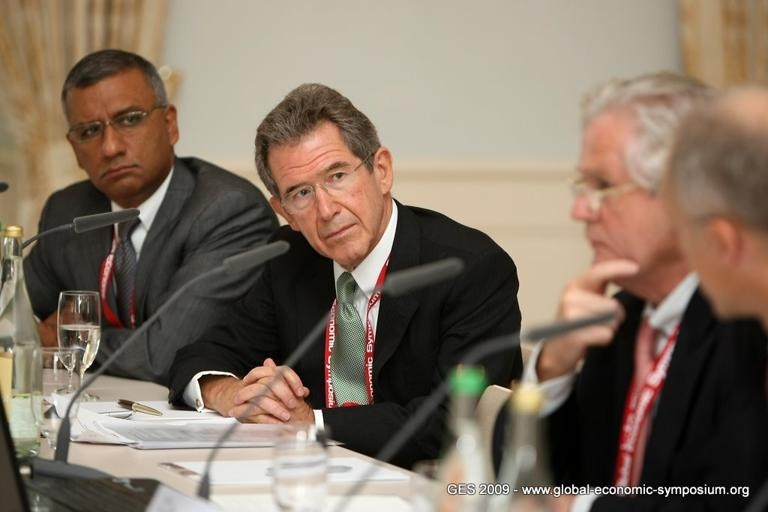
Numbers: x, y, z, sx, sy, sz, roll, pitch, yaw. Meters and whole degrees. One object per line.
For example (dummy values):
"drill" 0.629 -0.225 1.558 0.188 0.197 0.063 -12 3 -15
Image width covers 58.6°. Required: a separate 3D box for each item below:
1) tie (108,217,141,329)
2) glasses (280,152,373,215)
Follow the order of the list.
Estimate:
"tie" -1.052 0.052 2.763 0.089 0.331 0.198 -1 2 -32
"glasses" -0.185 -0.214 2.023 0.164 0.061 0.209 -28 -1 25
